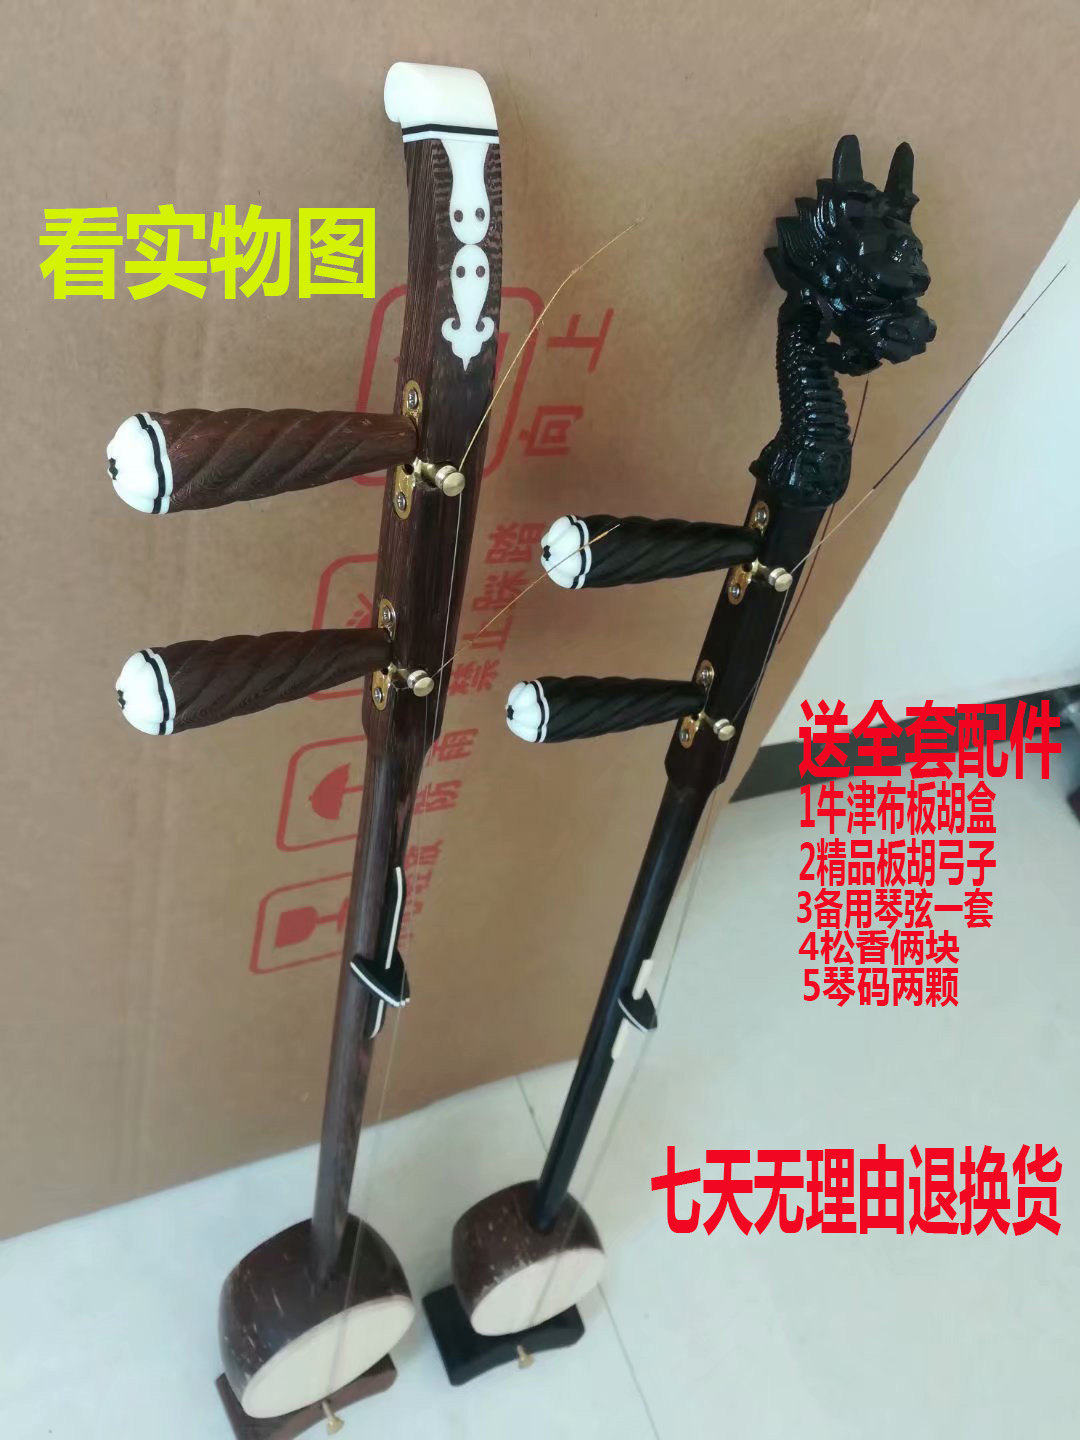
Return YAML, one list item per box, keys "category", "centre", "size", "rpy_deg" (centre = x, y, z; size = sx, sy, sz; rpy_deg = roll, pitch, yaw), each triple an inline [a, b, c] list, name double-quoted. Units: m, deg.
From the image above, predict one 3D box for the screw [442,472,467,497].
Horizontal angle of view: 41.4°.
- category: "screw"
  centre: [-0.037, -0.100, 0.613]
  size: [0.010, 0.009, 0.009]
  rpy_deg: [-1, -64, -9]

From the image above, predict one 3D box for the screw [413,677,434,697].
- category: "screw"
  centre: [-0.056, -0.016, 0.677]
  size: [0.009, 0.006, 0.009]
  rpy_deg: [-7, -48, -8]
